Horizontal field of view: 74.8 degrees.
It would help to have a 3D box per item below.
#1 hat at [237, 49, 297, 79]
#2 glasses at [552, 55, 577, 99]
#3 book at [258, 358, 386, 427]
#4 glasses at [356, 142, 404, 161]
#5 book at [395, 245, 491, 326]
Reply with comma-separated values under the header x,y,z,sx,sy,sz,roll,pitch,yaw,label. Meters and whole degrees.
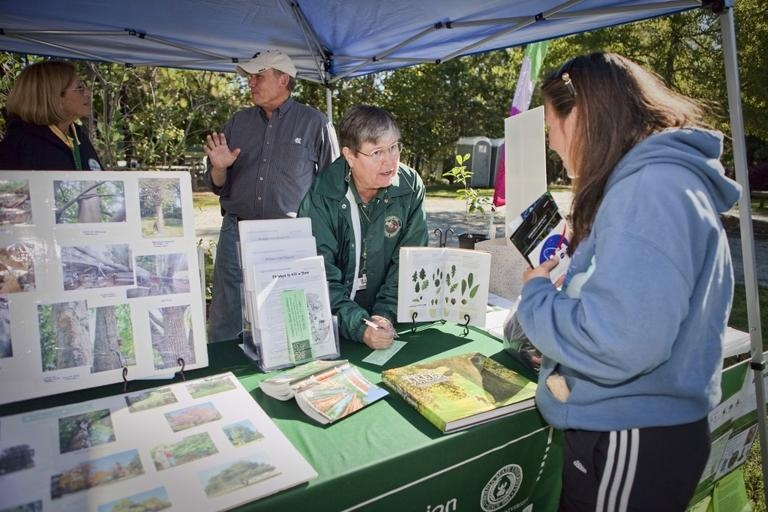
x,y,z,sx,sy,sz,roll,pitch,yaw,label
-0.890,-1.416,3.855,0.398,0.198,0.262,-3,16,-27,hat
0.693,-0.670,1.907,0.041,0.145,0.105,-29,18,23,glasses
-0.205,0.555,2.068,0.293,0.066,0.269,23,20,34,book
-0.023,-0.544,2.656,0.209,0.082,0.054,-6,8,-15,glasses
0.313,0.170,2.676,0.391,0.347,0.143,2,5,-1,book
